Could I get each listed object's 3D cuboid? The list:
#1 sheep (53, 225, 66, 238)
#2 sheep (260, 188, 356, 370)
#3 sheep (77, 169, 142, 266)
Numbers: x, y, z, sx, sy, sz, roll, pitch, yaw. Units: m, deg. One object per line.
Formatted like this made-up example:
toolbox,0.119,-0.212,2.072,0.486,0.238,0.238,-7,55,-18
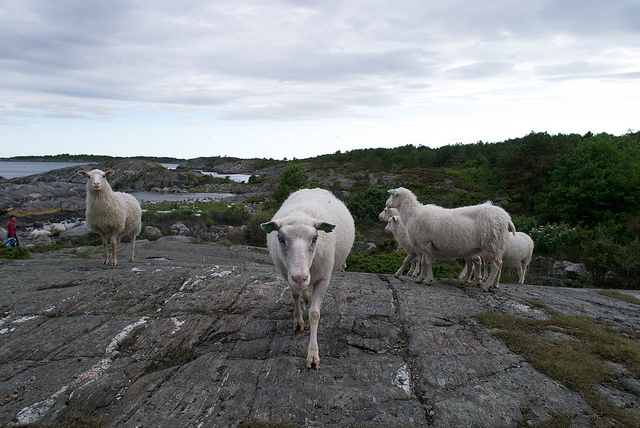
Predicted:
sheep,-21.364,1.433,26.887,0.813,0.680,1.246,1,5,-38
sheep,-0.312,1.270,7.634,1.655,3.604,2.899,6,5,12
sheep,-7.854,0.170,12.449,1.698,3.521,2.096,2,6,-30
